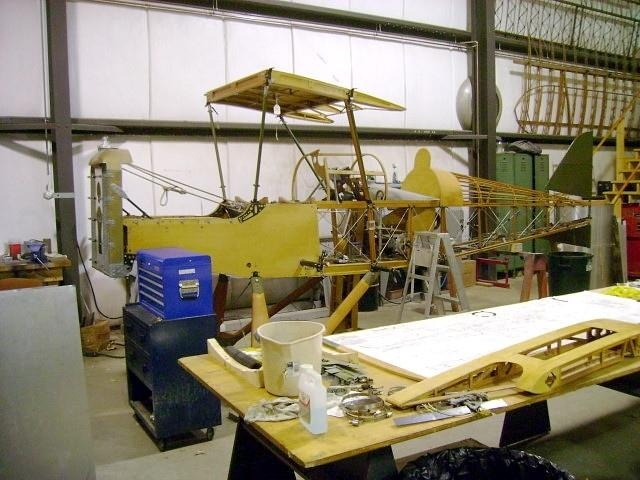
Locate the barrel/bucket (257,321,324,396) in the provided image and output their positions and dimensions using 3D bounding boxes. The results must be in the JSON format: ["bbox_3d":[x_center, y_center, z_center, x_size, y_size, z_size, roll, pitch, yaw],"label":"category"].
[{"bbox_3d":[-0.175,0.677,3.058,0.418,0.323,0.341,-2,6,-41],"label":"barrel/bucket"}]

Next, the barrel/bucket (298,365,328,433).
[{"bbox_3d":[-0.037,0.799,2.777,0.145,0.323,0.204,-2,8,-2],"label":"barrel/bucket"}]

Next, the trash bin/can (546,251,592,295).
[{"bbox_3d":[3.225,0.411,7.217,0.551,0.582,0.539,0,1,3],"label":"trash bin/can"}]
